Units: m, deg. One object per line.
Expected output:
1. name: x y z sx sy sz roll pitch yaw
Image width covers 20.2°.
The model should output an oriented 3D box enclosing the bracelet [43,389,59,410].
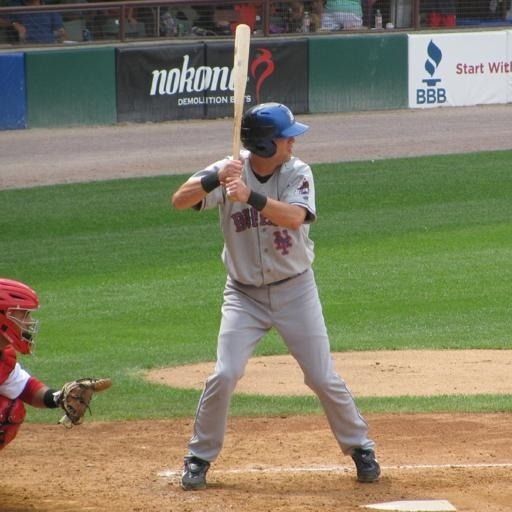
1. bracelet: -1.983 1.358 13.790 0.129 0.160 0.169 1 -9 -7

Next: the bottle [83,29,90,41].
1. bottle: -3.342 -4.385 28.077 0.147 0.249 0.201 1 7 -5

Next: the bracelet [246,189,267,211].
1. bracelet: -0.018 -0.552 13.713 0.143 0.158 0.188 34 13 -23

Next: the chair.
1. chair: -2.586 -4.532 28.467 2.539 0.506 0.362 -1 8 -22

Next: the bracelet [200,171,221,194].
1. bracelet: -0.449 -0.727 13.774 0.144 0.189 0.154 6 2 -4

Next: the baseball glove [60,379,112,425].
1. baseball glove: -1.700 1.329 13.737 0.382 0.513 0.253 12 7 -12

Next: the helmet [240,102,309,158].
1. helmet: 0.164 -1.225 13.829 0.599 0.469 0.467 0 9 5
